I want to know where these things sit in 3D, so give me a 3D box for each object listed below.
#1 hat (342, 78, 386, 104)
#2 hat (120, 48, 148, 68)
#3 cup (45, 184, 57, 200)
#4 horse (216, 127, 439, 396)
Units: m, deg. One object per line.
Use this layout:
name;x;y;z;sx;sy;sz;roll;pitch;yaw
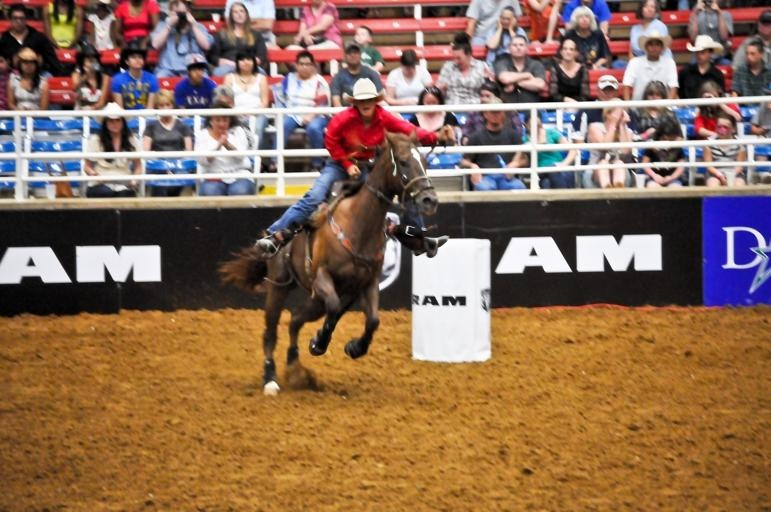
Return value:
hat;-0.348;-2.462;20.402;0.387;0.323;0.235;0;4;0
hat;-4.675;-3.688;25.237;0.375;0.340;0.452;0;2;-6
cup;-5.954;-1.124;24.427;0.249;0.284;0.255;-1;-9;0
horse;-1.072;0.452;21.406;1.392;3.839;5.337;9;-13;-37
